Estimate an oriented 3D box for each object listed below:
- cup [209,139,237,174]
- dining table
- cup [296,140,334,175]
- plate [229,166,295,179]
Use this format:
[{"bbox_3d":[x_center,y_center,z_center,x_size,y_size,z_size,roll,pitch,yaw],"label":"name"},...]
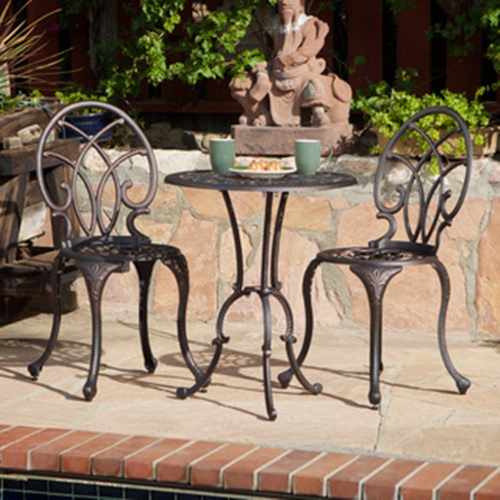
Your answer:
[{"bbox_3d":[-0.070,-0.394,2.757,0.156,0.144,0.140,0,4,3],"label":"cup"},{"bbox_3d":[0.036,0.176,2.700,0.953,0.905,0.900,-1,1,-31],"label":"dining table"},{"bbox_3d":[0.321,-0.399,2.786,0.229,0.159,0.131,1,10,-5],"label":"cup"},{"bbox_3d":[0.062,-0.310,2.651,0.267,0.050,0.281,0,6,-1],"label":"plate"}]
